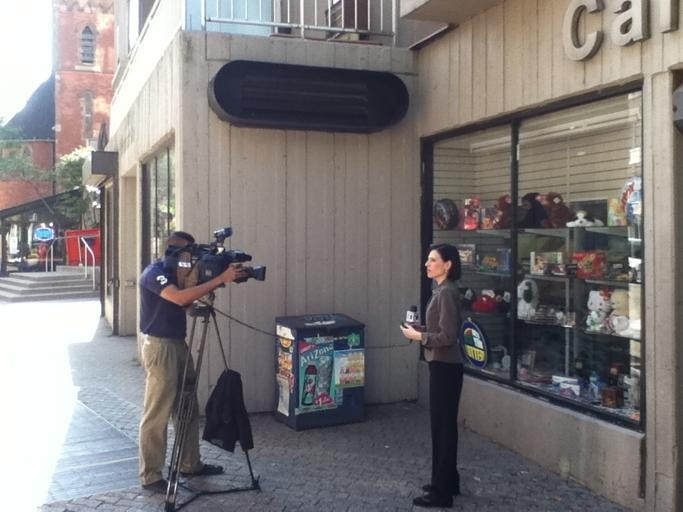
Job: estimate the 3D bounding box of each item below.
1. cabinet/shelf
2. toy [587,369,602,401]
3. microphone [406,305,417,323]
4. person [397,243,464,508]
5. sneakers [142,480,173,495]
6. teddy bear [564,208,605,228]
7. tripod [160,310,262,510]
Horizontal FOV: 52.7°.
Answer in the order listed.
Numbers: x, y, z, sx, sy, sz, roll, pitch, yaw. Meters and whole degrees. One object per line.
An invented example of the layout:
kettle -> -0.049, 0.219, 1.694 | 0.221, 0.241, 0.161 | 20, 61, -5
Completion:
cabinet/shelf -> 2.390, 0.765, 7.659 | 0.656, 2.431, 1.954 | 2, 2, -30
toy -> 2.693, 1.366, 7.293 | 0.098, 0.304, 0.279 | 2, -5, -4
microphone -> 0.700, 0.561, 6.708 | 0.099, 0.202, 0.294 | 0, 5, 3
person -> 0.963, 1.163, 6.879 | 0.484, 2.541, 0.485 | 1, 4, 9
sneakers -> -1.866, 2.335, 7.050 | 0.304, 0.158, 0.149 | 4, -4, -2
teddy bear -> 2.646, -0.400, 7.468 | 0.082, 0.194, 0.465 | -2, 6, -26
tripod -> -1.350, 1.426, 7.143 | 0.965, 1.961, 0.989 | -1, 4, -16
